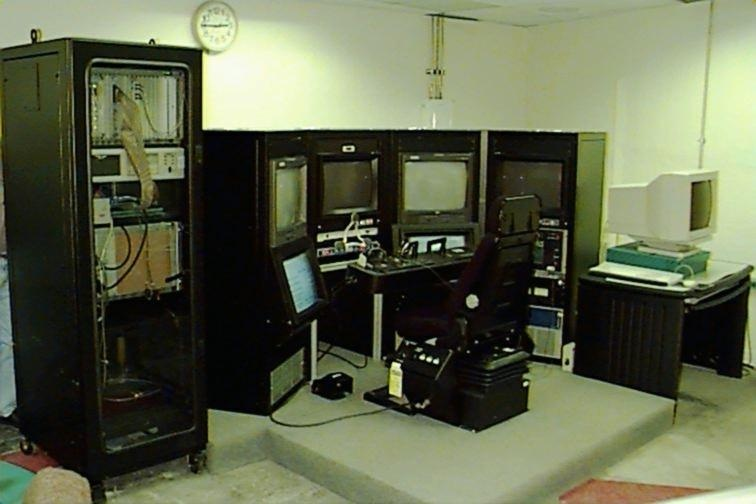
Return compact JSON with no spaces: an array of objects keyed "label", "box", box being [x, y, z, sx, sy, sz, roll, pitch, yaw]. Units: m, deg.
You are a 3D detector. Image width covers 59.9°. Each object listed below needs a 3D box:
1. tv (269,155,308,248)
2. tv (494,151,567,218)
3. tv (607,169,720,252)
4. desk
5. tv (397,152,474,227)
[{"label":"tv","box":[-0.625,-0.346,4.508,0.118,0.661,0.607,4,9,20]},{"label":"tv","box":[1.235,-0.540,5.207,0.575,0.467,0.200,6,8,28]},{"label":"tv","box":[2.241,-0.352,5.200,0.689,0.479,0.653,4,10,32]},{"label":"desk","box":[2.219,0.596,5.400,1.174,1.094,1.424,8,11,42]},{"label":"tv","box":[0.496,-0.532,5.527,0.625,0.574,0.179,-1,12,1]}]
